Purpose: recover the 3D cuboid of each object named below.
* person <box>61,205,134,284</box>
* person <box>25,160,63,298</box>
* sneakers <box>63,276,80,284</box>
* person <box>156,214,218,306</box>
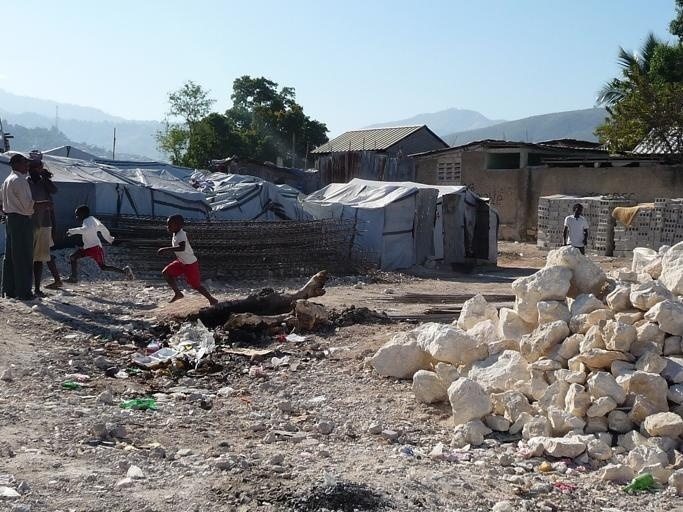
[{"bbox_3d":[-4.210,-0.206,11.875,0.870,1.449,2.833,-3,13,-21],"label":"person"},{"bbox_3d":[-4.258,-0.501,10.516,0.677,2.073,0.562,9,10,27],"label":"person"},{"bbox_3d":[-4.585,0.431,11.928,0.299,0.119,0.108,4,7,17],"label":"sneakers"},{"bbox_3d":[-2.211,0.121,10.080,0.759,1.411,1.118,-1,14,-14],"label":"person"}]
